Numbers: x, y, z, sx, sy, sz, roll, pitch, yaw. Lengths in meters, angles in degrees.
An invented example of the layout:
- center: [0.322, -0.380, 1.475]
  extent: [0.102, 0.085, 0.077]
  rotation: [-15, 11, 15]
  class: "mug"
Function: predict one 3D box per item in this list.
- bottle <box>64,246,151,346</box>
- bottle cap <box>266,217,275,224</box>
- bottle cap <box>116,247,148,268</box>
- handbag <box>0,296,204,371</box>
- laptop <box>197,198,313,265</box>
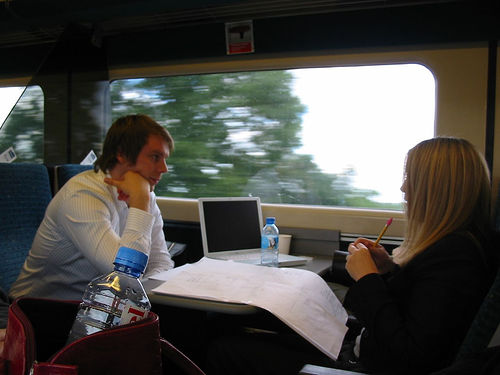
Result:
- center: [-0.302, 0.273, 0.893]
  extent: [0.153, 0.261, 0.149]
  rotation: [18, -10, 3]
  class: "bottle"
- center: [0.110, 0.179, 2.175]
  extent: [0.042, 0.025, 0.040]
  rotation: [-2, 2, -35]
  class: "bottle cap"
- center: [-0.242, 0.140, 0.814]
  extent: [0.049, 0.023, 0.047]
  rotation: [18, -22, -28]
  class: "bottle cap"
- center: [-0.303, 0.273, 0.846]
  extent: [0.342, 0.142, 0.210]
  rotation: [6, -6, -18]
  class: "handbag"
- center: [-0.012, 0.232, 2.308]
  extent: [0.483, 0.324, 0.471]
  rotation: [1, -4, -42]
  class: "laptop"
